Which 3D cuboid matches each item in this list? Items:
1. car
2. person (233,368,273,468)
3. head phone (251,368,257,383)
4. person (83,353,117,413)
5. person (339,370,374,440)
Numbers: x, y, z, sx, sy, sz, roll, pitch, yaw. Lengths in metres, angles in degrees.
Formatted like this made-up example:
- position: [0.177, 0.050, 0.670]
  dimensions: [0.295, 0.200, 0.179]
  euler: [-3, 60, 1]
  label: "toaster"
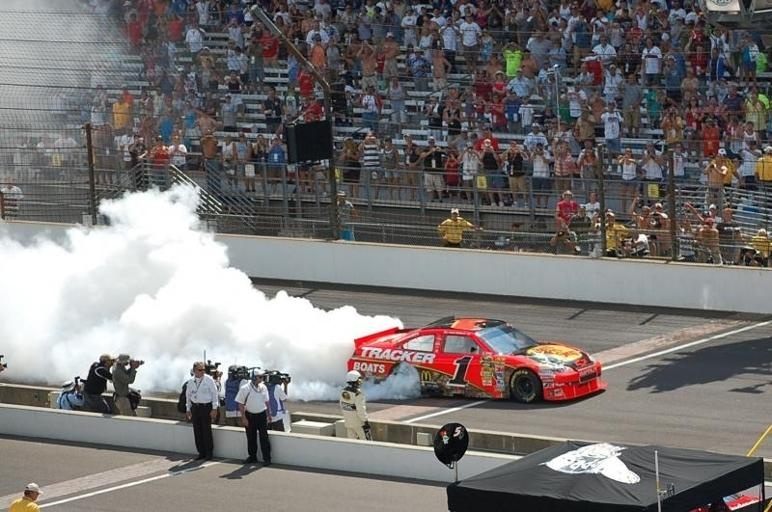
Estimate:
- position: [2.104, 2.371, 46.307]
  dimensions: [5.162, 1.463, 2.434]
  euler: [0, 5, 17]
  label: "car"
- position: [-2.983, 3.602, 43.433]
  dimensions: [0.727, 2.089, 0.356]
  euler: [-1, 3, -5]
  label: "person"
- position: [-2.989, 2.678, 43.563]
  dimensions: [0.124, 0.296, 0.308]
  euler: [-2, 0, 7]
  label: "head phone"
- position: [-6.850, 3.012, 45.843]
  dimensions: [0.647, 1.385, 0.635]
  euler: [15, -12, -21]
  label: "person"
- position: [-0.669, 3.316, 43.497]
  dimensions: [0.845, 1.511, 0.662]
  euler: [5, -2, 19]
  label: "person"
